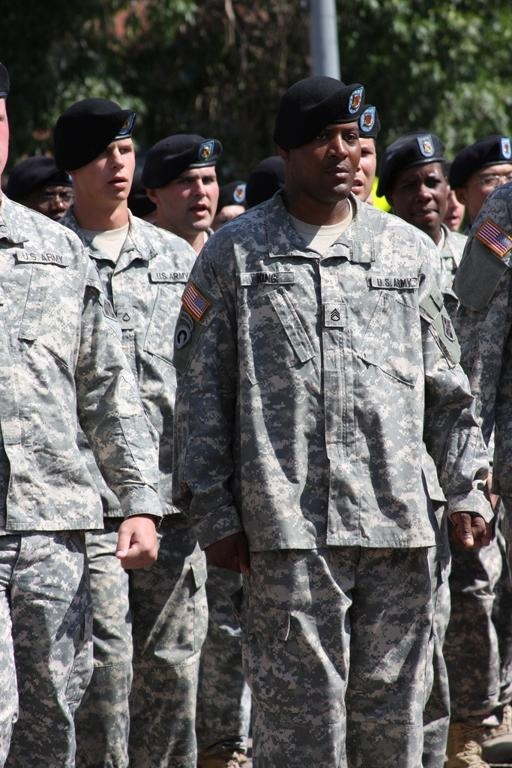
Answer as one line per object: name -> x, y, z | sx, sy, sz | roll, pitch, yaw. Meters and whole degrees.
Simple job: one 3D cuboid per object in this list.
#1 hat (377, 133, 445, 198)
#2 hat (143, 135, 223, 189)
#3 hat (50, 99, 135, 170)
hat -> 0.720, -1.032, 5.281 | 0.271, 0.105, 0.293 | -17, -8, -24
hat -> -0.346, -1.033, 5.081 | 0.332, 0.114, 0.246 | -19, 0, 44
hat -> -0.631, -0.957, 4.308 | 0.353, 0.164, 0.236 | -15, 11, 34
